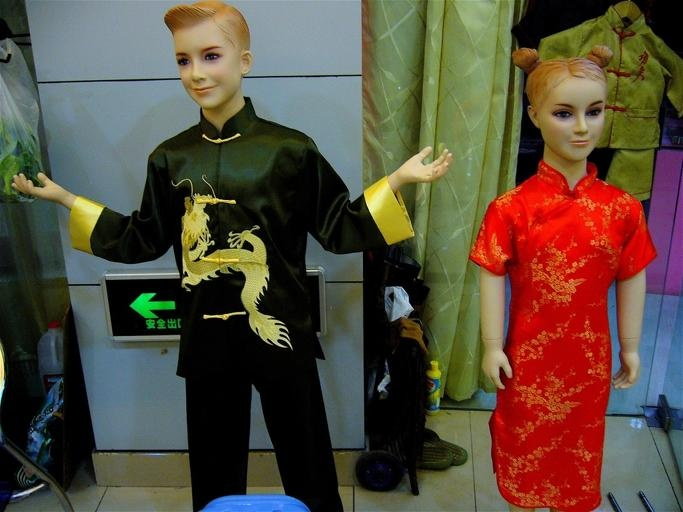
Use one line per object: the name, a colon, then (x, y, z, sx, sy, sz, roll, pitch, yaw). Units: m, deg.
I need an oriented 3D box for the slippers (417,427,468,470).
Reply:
slippers: (0.418, 0.806, 2.603, 0.126, 0.073, 0.217, -14, 10, -39)
